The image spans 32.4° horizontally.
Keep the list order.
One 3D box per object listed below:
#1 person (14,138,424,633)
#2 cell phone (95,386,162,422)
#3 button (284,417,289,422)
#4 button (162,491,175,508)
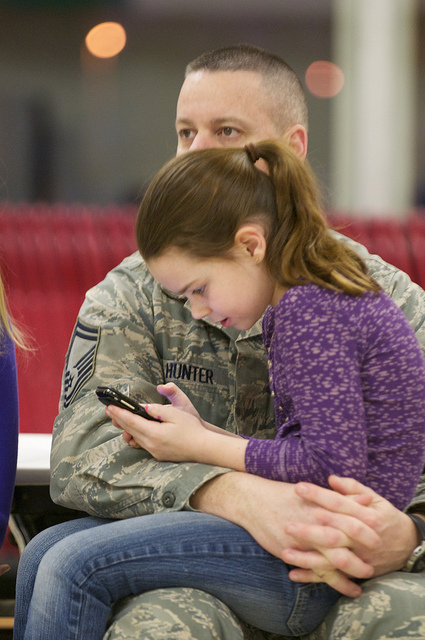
[{"bbox_3d":[-0.007,0.114,1.074,0.550,0.752,0.391,-1,15,-14],"label":"person"},{"bbox_3d":[-0.133,0.134,1.153,0.055,0.020,0.089,24,1,36],"label":"cell phone"},{"bbox_3d":[0.113,0.152,1.117,0.002,0.007,0.008,5,0,-11],"label":"button"},{"bbox_3d":[-0.065,0.264,1.074,0.023,0.019,0.005,4,-1,27],"label":"button"}]
